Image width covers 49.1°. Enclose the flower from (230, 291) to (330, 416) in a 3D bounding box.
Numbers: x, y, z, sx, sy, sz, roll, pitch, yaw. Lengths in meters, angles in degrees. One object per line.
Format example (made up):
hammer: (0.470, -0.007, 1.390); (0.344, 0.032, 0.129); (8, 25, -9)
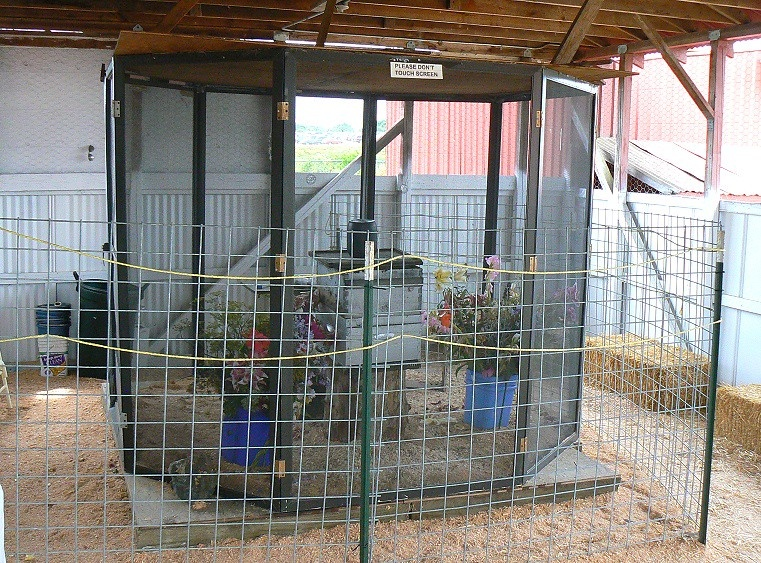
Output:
flower: (-0.693, 0.516, 5.842); (0.727, 0.923, 0.330); (0, 6, -5)
